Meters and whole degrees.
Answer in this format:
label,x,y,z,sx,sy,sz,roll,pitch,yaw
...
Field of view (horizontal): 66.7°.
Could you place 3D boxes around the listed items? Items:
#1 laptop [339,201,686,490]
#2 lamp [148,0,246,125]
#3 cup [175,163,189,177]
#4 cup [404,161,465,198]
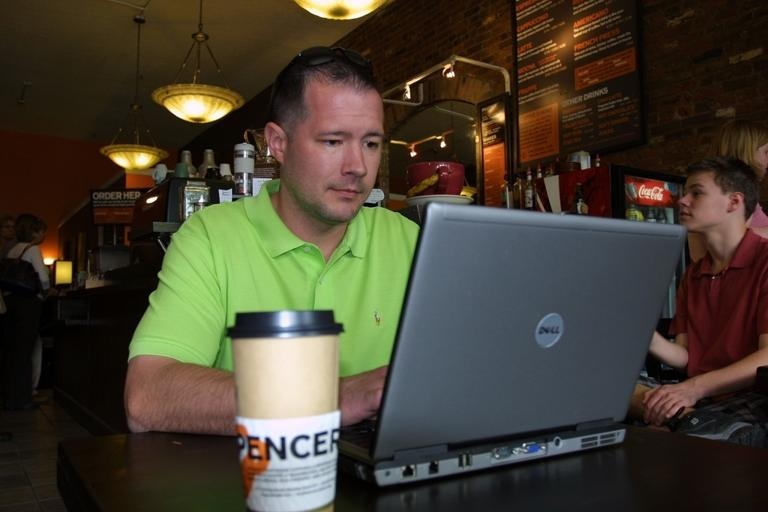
label,x,y,z,sx,sy,sz,roll,pitch,yaw
laptop,0.230,0.153,1.237,0.641,0.456,0.542,3,-4,-25
lamp,-2.251,-2.407,7.057,0.889,1.424,0.892,-20,-26,37
cup,-1.100,-0.471,3.192,0.083,0.077,0.072,-2,6,-15
cup,0.198,-0.300,2.337,0.148,0.123,0.179,1,-1,-5
